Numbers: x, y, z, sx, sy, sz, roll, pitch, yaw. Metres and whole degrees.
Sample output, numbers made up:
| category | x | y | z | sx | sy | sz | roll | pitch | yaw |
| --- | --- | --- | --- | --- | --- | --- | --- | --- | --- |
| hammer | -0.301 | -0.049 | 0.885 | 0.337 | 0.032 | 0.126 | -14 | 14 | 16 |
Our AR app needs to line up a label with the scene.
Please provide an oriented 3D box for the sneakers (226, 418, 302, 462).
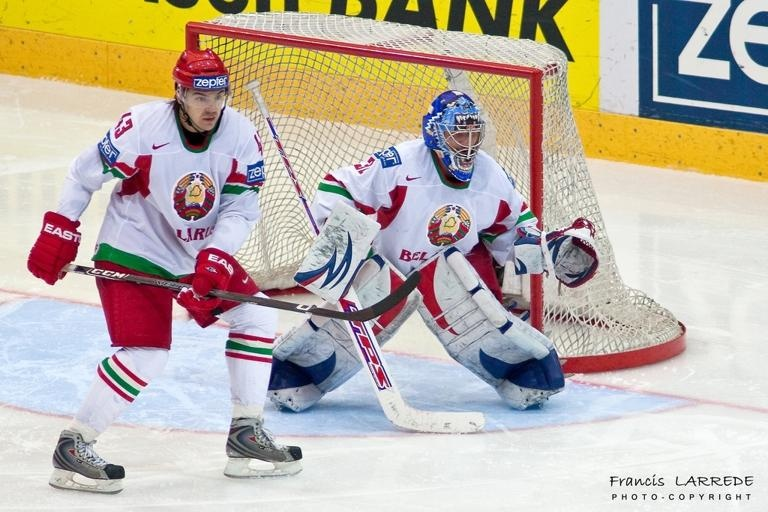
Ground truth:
| category | x | y | z | sx | sy | sz | roll | pitch | yaw |
| --- | --- | --- | --- | --- | --- | --- | --- | --- | --- |
| sneakers | -0.398 | 0.661 | 3.358 | 0.325 | 0.150 | 0.098 | -3 | -3 | 23 |

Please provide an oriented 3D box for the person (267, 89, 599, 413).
| category | x | y | z | sx | sy | sz | roll | pitch | yaw |
| --- | --- | --- | --- | --- | --- | --- | --- | --- | --- |
| person | 0.164 | 0.018 | 3.845 | 1.559 | 1.301 | 0.746 | 7 | 17 | -33 |

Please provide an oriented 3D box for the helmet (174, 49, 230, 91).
| category | x | y | z | sx | sy | sz | roll | pitch | yaw |
| --- | --- | --- | --- | --- | --- | --- | --- | --- | --- |
| helmet | -0.643 | -0.664 | 3.323 | 0.198 | 0.131 | 0.235 | -9 | 30 | -23 |

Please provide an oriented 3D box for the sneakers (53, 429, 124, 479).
| category | x | y | z | sx | sy | sz | roll | pitch | yaw |
| --- | --- | --- | --- | --- | --- | --- | --- | --- | --- |
| sneakers | -0.997 | 0.695 | 3.252 | 0.315 | 0.152 | 0.094 | 3 | 2 | 22 |

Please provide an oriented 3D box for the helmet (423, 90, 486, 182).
| category | x | y | z | sx | sy | sz | roll | pitch | yaw |
| --- | --- | --- | --- | --- | --- | --- | --- | --- | --- |
| helmet | 0.291 | -0.507 | 3.839 | 0.292 | 0.317 | 0.305 | -3 | 16 | -9 |

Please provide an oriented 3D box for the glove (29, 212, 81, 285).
| category | x | y | z | sx | sy | sz | roll | pitch | yaw |
| --- | --- | --- | --- | --- | --- | --- | --- | --- | --- |
| glove | -1.205 | -0.037 | 3.354 | 0.213 | 0.097 | 0.270 | 10 | 40 | 3 |
